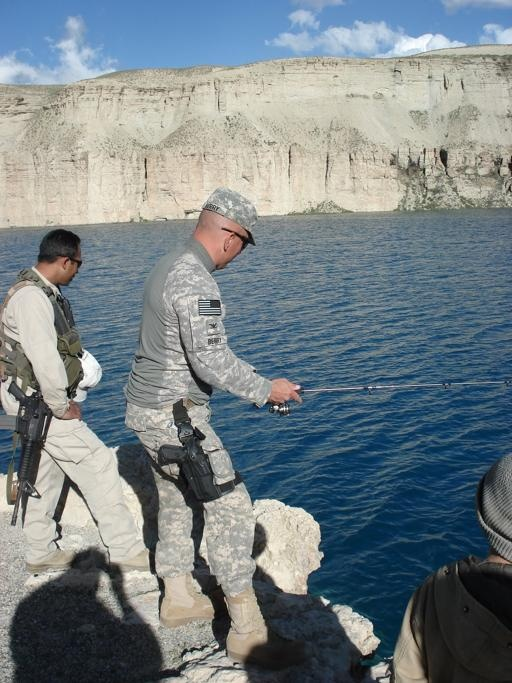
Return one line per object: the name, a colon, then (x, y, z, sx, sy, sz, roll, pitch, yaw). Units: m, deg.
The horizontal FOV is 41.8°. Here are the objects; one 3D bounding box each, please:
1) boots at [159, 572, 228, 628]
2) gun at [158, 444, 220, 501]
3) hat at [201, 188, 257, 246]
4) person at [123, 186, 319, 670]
boots: (-0.449, 1.821, 4.822, 0.200, 0.321, 0.558, -1, -9, 42)
gun: (-0.447, 0.804, 4.201, 0.430, 0.323, 0.135, 3, 6, 30)
hat: (-0.104, -0.838, 4.392, 0.320, 0.194, 0.429, 24, -7, 47)
person: (-0.313, 0.494, 4.355, 0.775, 3.059, 1.043, -3, 6, -32)
